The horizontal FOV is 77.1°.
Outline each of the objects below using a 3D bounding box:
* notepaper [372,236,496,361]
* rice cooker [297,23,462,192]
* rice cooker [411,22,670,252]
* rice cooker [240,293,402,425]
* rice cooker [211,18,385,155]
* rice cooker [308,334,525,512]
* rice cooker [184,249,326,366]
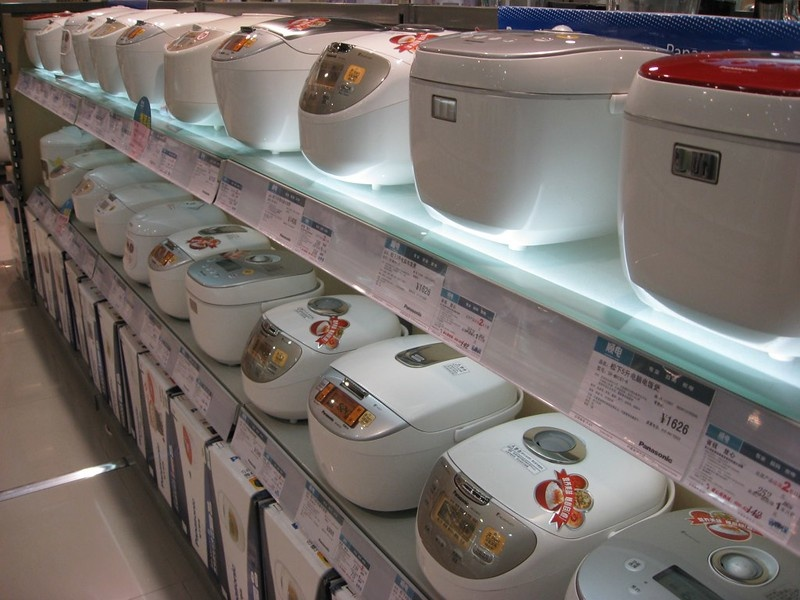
[{"bbox_3d":[0.032,-0.007,0.584,0.042,0.071,0.205,-22,39,-31],"label":"notepaper"},{"bbox_3d":[-0.032,-0.327,0.882,0.236,0.235,0.313,25,34,34],"label":"rice cooker"},{"bbox_3d":[0.176,-0.241,0.659,0.340,0.259,0.284,-26,37,-37],"label":"rice cooker"},{"bbox_3d":[-0.189,0.155,1.238,0.351,0.211,0.245,-16,38,-35],"label":"rice cooker"},{"bbox_3d":[-0.197,-0.467,1.092,0.349,0.255,0.205,-16,37,-34],"label":"rice cooker"},{"bbox_3d":[0.027,0.227,1.018,0.423,0.228,0.323,-9,18,-44],"label":"rice cooker"},{"bbox_3d":[-0.386,0.053,1.442,0.336,0.257,0.286,-22,37,-36],"label":"rice cooker"}]
